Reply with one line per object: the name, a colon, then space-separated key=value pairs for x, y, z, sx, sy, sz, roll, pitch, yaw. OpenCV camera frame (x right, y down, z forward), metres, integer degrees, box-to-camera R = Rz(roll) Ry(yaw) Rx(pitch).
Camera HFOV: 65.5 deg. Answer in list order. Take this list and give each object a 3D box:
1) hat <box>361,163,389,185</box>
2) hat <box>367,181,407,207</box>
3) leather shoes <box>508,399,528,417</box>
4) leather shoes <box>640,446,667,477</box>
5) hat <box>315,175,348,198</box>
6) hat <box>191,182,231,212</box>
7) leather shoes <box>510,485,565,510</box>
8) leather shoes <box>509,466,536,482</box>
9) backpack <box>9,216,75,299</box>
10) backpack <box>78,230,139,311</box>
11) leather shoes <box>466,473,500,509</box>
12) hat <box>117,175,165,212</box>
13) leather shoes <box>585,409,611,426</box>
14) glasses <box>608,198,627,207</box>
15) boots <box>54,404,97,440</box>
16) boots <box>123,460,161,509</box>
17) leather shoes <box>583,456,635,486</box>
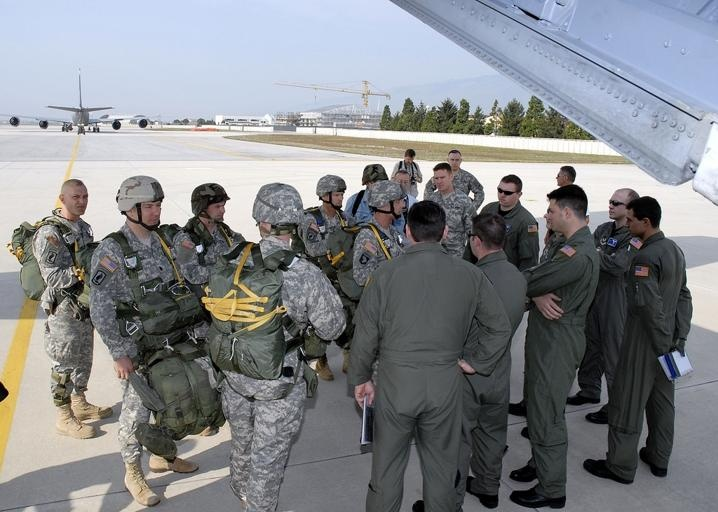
hat: x=0.206 y=-1.117 z=7.565 sx=0.367 sy=0.282 sz=0.269 roll=2 pitch=-1 yaw=1
hat: x=0.253 y=-0.623 z=5.617 sx=0.319 sy=0.241 sz=0.238 roll=-27 pitch=17 yaw=-14
leather shoes: x=1.810 y=1.732 z=6.354 sx=0.222 sy=0.068 sz=0.179 roll=-6 pitch=-1 yaw=22
leather shoes: x=2.867 y=2.017 z=5.504 sx=0.107 sy=0.130 sz=0.318 roll=-9 pitch=20 yaw=-5
hat: x=-0.345 y=-0.869 z=6.921 sx=0.318 sy=0.265 sz=0.254 roll=2 pitch=9 yaw=19
hat: x=-1.607 y=-0.612 z=5.967 sx=0.370 sy=0.320 sz=0.254 roll=-6 pitch=10 yaw=-17
leather shoes: x=1.575 y=2.196 z=5.030 sx=0.482 sy=0.203 sz=0.187 roll=5 pitch=-2 yaw=8
leather shoes: x=1.564 y=2.087 z=5.374 sx=0.282 sy=0.115 sz=0.114 roll=4 pitch=15 yaw=-7
backpack: x=-3.354 y=0.024 z=5.844 sx=0.831 sy=0.865 sz=0.385 roll=4 pitch=12 yaw=38
backpack: x=-2.420 y=0.172 z=5.288 sx=0.407 sy=0.828 sz=1.014 roll=-9 pitch=11 yaw=-34
leather shoes: x=1.115 y=2.141 z=5.091 sx=0.294 sy=0.217 sz=0.206 roll=1 pitch=10 yaw=23
hat: x=-2.067 y=-0.584 z=5.173 sx=0.412 sy=0.309 sz=0.312 roll=7 pitch=1 yaw=-3
leather shoes: x=2.653 y=1.799 z=6.275 sx=0.222 sy=0.125 sz=0.212 roll=-1 pitch=10 yaw=14
glasses: x=2.947 y=-0.610 z=6.420 sx=0.108 sy=0.035 sz=0.102 roll=24 pitch=-4 yaw=-18
boots: x=-2.954 y=1.718 z=5.817 sx=0.465 sy=0.312 sz=0.169 roll=3 pitch=6 yaw=16
boots: x=-1.942 y=2.002 z=4.981 sx=0.230 sy=0.370 sz=0.353 roll=-11 pitch=12 yaw=-38
leather shoes: x=2.408 y=2.069 z=5.368 sx=0.425 sy=0.166 sz=0.160 roll=20 pitch=21 yaw=39
